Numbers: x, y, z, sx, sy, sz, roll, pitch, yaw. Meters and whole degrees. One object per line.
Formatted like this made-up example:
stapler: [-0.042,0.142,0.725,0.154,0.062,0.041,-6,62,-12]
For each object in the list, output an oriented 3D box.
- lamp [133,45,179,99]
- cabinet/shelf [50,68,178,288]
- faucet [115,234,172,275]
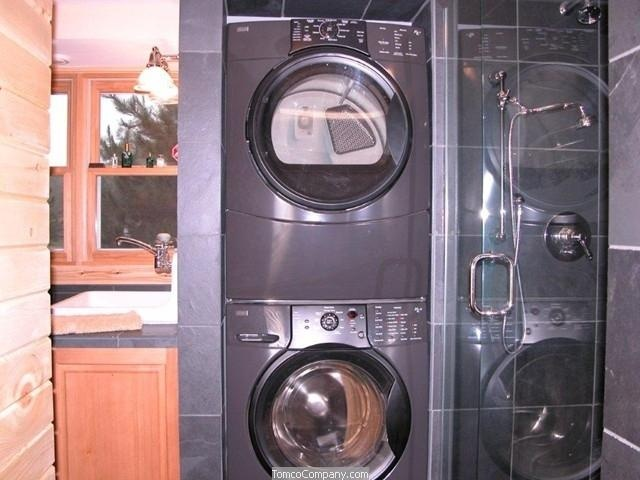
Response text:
lamp: [-0.814,-0.797,3.103,0.267,0.329,0.282,0,5,-9]
cabinet/shelf: [-1.261,-0.381,3.631,1.097,1.263,0.396,-5,0,-19]
faucet: [-0.995,0.092,3.411,0.255,0.129,0.190,8,2,-7]
